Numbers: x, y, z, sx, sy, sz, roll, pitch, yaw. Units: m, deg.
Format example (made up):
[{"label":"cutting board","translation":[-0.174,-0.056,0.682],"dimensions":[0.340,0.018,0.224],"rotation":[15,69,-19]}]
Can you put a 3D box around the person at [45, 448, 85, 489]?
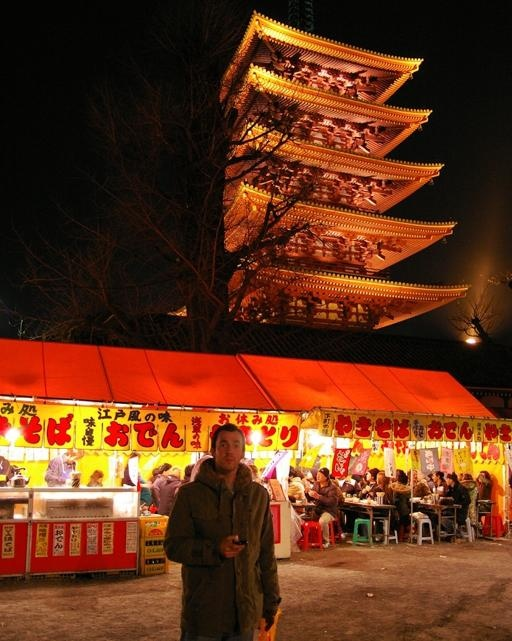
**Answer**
[{"label":"person","translation":[-2.873,2.178,9.155],"dimensions":[0.480,0.498,1.559],"rotation":[5,-13,-15]}]
